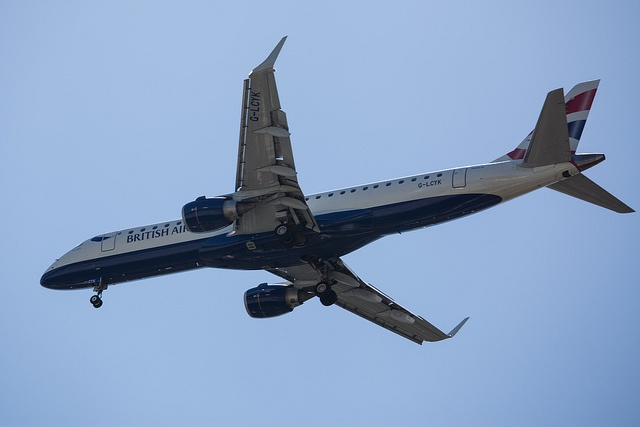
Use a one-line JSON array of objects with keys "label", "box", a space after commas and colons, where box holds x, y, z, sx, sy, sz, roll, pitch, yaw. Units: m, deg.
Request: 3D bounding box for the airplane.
[{"label": "airplane", "box": [0.129, 0.371, 27.580, 14.099, 3.905, 10.011, -9, -50, 20]}]
